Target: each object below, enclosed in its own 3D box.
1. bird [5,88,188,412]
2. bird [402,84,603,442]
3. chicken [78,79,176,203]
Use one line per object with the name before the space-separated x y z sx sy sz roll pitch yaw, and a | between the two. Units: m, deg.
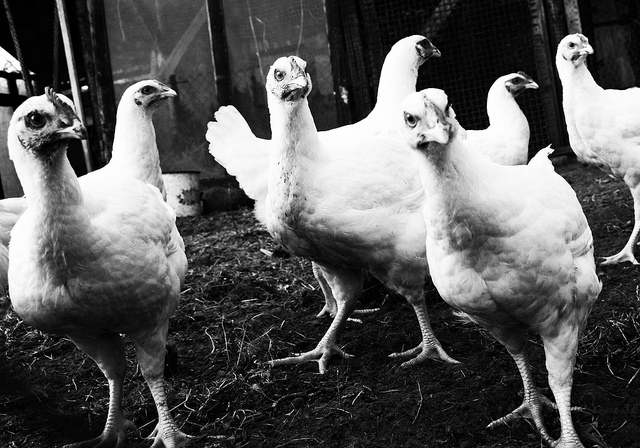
bird | -1.482 0.209 4.754 1.121 2.230 0.679 -18 22 -26
bird | 1.196 0.236 4.587 1.070 2.262 0.880 0 21 21
chicken | -1.421 -0.716 5.729 0.654 0.934 0.811 -4 20 -14
